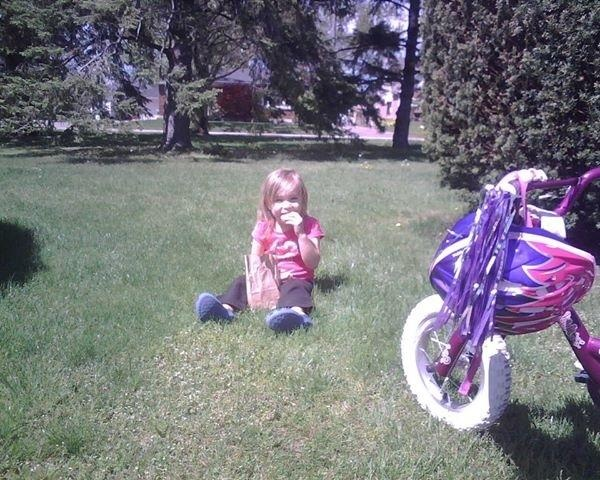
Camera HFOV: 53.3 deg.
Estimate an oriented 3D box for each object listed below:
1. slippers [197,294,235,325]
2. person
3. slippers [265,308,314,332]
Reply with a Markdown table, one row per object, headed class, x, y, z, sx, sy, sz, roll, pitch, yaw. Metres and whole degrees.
| class | x | y | z | sx | sy | sz | roll | pitch | yaw |
| --- | --- | --- | --- | --- | --- | --- | --- | --- | --- |
| slippers | -0.724 | 0.590 | 5.125 | 0.295 | 0.188 | 0.148 | 36 | 11 | -8 |
| person | -0.238 | 0.046 | 5.154 | 0.803 | 1.421 | 1.204 | 3 | 1 | 13 |
| slippers | -0.107 | 0.659 | 4.964 | 0.314 | 0.201 | 0.170 | 7 | 14 | -13 |
